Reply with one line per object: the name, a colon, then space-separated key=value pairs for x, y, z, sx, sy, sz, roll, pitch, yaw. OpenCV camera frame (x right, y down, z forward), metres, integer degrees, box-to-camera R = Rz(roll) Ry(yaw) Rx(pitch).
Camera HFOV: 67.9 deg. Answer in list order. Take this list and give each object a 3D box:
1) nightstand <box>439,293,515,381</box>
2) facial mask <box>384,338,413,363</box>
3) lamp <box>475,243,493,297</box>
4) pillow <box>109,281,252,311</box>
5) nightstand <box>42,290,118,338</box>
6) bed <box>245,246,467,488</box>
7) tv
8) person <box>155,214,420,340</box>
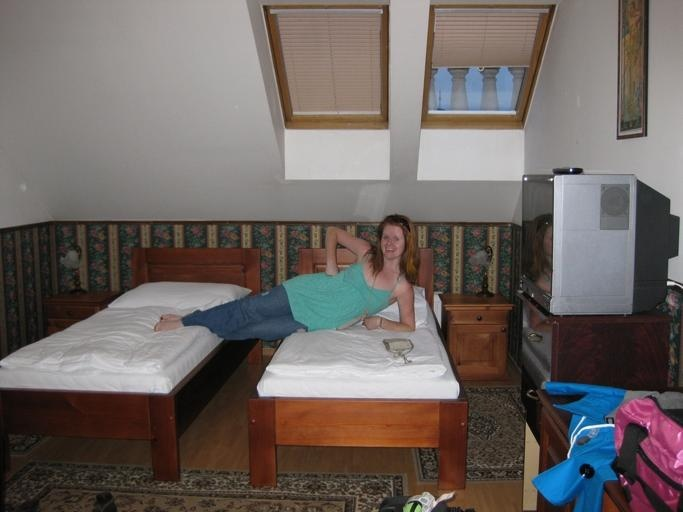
nightstand: x=1.223 y=0.703 z=4.644 sx=0.648 sy=0.710 sz=0.554 roll=2 pitch=15 yaw=18
facial mask: x=0.365 y=0.580 z=3.174 sx=0.148 sy=0.142 sz=0.136 roll=-1 pitch=-3 yaw=-5
lamp: x=1.350 y=0.139 z=4.755 sx=0.169 sy=0.438 sz=0.376 roll=3 pitch=13 yaw=17
pillow: x=-1.439 y=0.349 z=4.409 sx=0.697 sy=0.117 sz=0.440 roll=2 pitch=13 yaw=2
nightstand: x=-2.495 y=0.476 z=4.876 sx=0.558 sy=0.539 sz=0.414 roll=0 pitch=7 yaw=-3
bed: x=0.156 y=0.633 z=4.070 sx=1.437 sy=1.180 sz=2.288 roll=0 pitch=9 yaw=2
tv: x=1.335 y=-0.070 z=2.821 sx=0.687 sy=0.682 sz=0.779 roll=0 pitch=4 yaw=7
person: x=-0.339 y=0.251 z=3.780 sx=1.913 sy=0.760 sz=0.730 roll=-11 pitch=33 yaw=-16
